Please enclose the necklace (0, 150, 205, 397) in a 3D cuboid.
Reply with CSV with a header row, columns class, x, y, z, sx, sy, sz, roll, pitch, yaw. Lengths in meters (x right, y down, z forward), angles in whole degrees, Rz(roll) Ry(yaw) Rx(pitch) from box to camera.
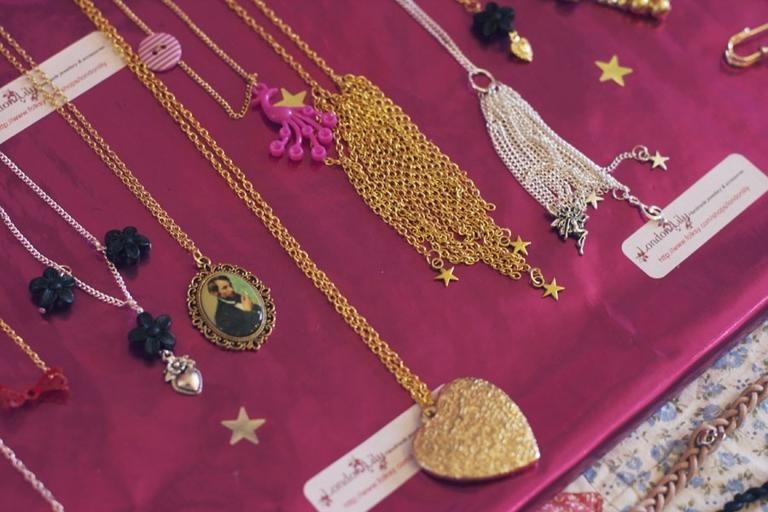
class,x,y,z,sx,sy,sz,roll,pitch,yaw
necklace,-1.073,0.104,4.206,0.140,0.086,1.013,-35,85,-20
